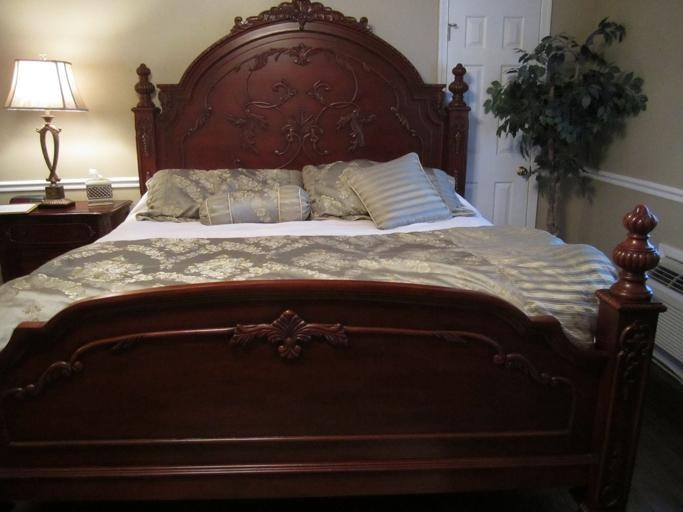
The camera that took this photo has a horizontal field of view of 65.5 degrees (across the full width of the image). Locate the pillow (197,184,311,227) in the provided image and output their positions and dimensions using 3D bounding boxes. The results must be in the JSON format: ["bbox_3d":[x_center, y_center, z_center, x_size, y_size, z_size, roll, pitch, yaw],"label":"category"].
[{"bbox_3d":[-0.545,-0.346,3.301,0.616,0.200,0.269,-5,14,-4],"label":"pillow"}]

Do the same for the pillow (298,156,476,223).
[{"bbox_3d":[0.205,-0.430,3.516,0.705,0.151,0.579,-1,33,-6],"label":"pillow"}]

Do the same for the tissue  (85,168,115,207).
[{"bbox_3d":[-1.690,-0.477,3.702,0.189,0.214,0.176,-6,14,-17],"label":"tissue "}]
